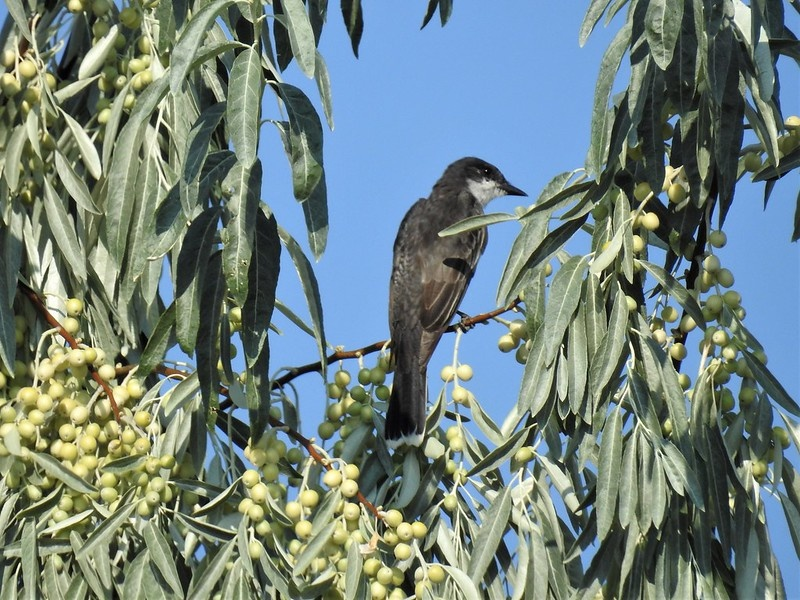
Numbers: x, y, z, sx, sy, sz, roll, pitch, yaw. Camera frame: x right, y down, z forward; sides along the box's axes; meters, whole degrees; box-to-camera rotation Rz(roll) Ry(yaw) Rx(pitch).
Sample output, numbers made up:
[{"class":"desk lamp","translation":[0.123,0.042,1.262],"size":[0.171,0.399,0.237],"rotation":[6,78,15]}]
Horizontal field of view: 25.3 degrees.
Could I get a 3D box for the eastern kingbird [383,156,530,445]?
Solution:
[{"class":"eastern kingbird","translation":[0.185,-0.117,8.980],"size":[0.448,1.877,0.741],"rotation":[-7,-48,27]}]
